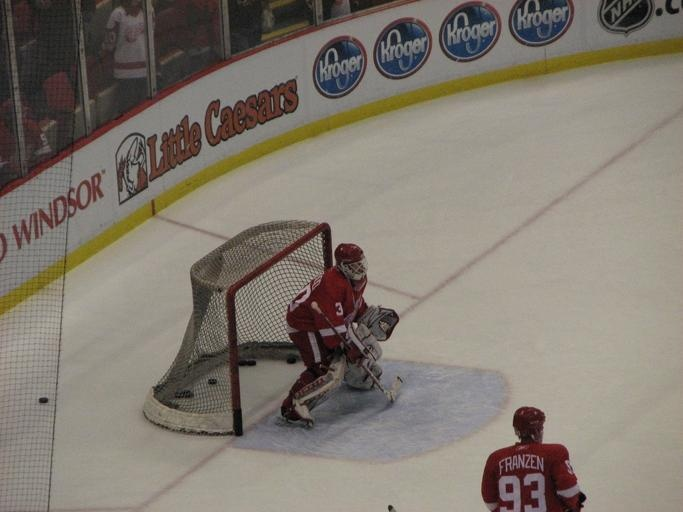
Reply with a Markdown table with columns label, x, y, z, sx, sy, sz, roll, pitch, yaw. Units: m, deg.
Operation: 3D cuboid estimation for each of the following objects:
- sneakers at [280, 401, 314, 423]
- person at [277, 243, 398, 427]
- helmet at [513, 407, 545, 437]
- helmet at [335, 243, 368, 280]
| label | x | y | z | sx | sy | sz | roll | pitch | yaw |
| --- | --- | --- | --- | --- | --- | --- | --- | --- | --- |
| sneakers | -0.375 | 1.268 | 9.196 | 0.167 | 0.094 | 0.224 | 6 | -4 | -42 |
| person | -0.009 | 0.655 | 9.324 | 0.951 | 1.415 | 0.759 | 0 | 13 | -8 |
| helmet | 1.256 | 1.077 | 7.576 | 0.197 | 0.178 | 0.165 | -18 | 10 | -19 |
| helmet | 0.108 | 0.005 | 9.262 | 0.290 | 0.295 | 0.247 | 9 | 30 | 13 |
